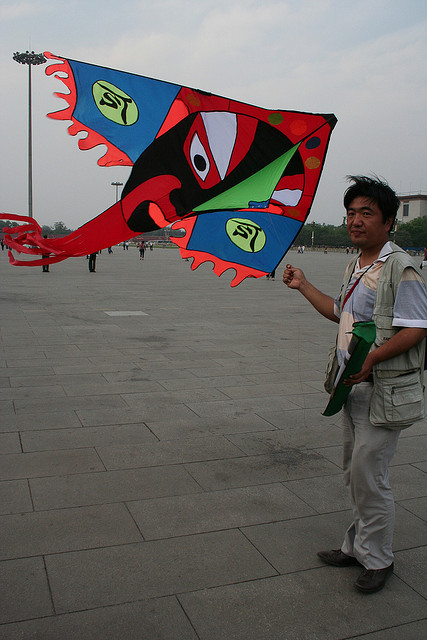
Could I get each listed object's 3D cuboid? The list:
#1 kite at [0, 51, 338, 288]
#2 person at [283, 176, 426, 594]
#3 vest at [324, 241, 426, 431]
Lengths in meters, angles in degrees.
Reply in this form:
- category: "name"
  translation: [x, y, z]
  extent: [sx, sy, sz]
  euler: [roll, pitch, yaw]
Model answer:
- category: "kite"
  translation: [-0.135, -0.610, 2.088]
  extent: [1.210, 0.902, 0.383]
  euler: [0, 6, -20]
- category: "person"
  translation: [0.696, 0.265, 2.147]
  extent: [0.427, 1.761, 0.808]
  euler: [4, 6, 12]
- category: "vest"
  translation: [0.747, 0.080, 2.176]
  extent: [0.443, 0.858, 0.421]
  euler: [3, 6, 4]
